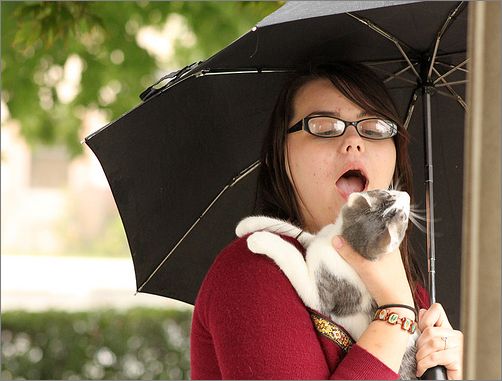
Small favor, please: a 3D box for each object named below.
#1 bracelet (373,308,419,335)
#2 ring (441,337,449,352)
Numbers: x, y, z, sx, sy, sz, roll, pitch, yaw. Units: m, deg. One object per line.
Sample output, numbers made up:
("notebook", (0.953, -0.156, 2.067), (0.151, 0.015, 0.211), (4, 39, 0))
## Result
("bracelet", (0.751, 0.663, 3.597), (0.139, 0.048, 0.154), (33, 15, 5))
("ring", (1.007, 0.799, 3.644), (0.034, 0.056, 0.014), (0, 2, 32))
